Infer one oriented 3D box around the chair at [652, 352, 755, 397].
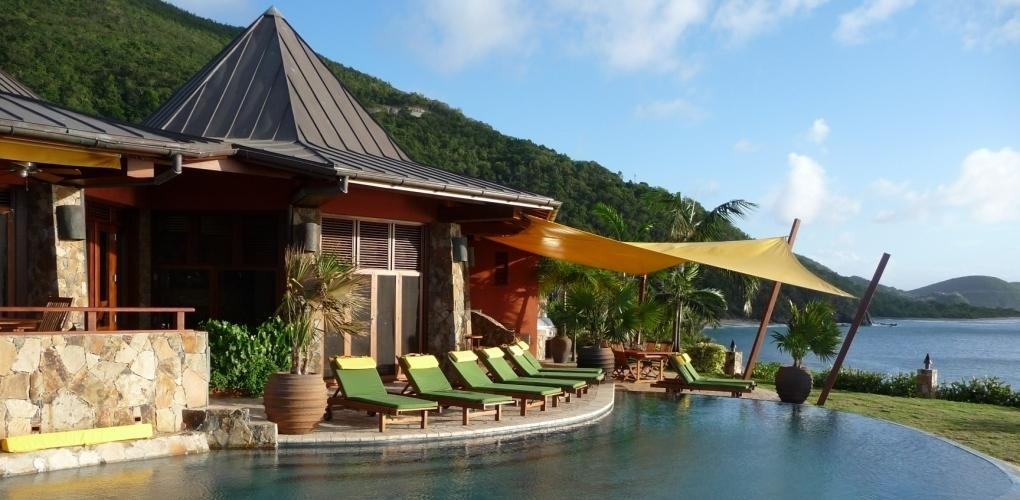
[{"bbox_3d":[8.817,5.785,30.655,3.773,1.409,2.140,-1,-2,17],"label":"chair"}]
